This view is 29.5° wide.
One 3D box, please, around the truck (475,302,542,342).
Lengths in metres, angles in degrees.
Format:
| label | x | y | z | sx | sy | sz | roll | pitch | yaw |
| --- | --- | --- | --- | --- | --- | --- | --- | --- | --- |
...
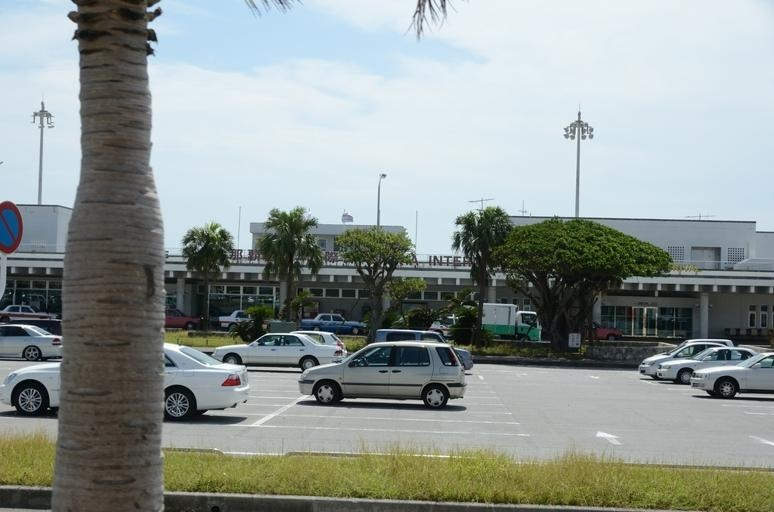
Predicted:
| label | x | y | z | sx | sy | sz | roll | pitch | yaw |
| --- | --- | --- | --- | --- | --- | --- | --- | --- | --- |
| truck | 7.624 | 4.388 | 89.709 | 5.478 | 2.613 | 2.810 | 1 | -2 | 7 |

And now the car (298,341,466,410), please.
| label | x | y | z | sx | sy | sz | roll | pitch | yaw |
| --- | --- | --- | --- | --- | --- | --- | --- | --- | --- |
| car | 0.389 | 4.912 | 60.961 | 7.342 | 2.572 | 3.657 | 0 | -1 | 21 |
